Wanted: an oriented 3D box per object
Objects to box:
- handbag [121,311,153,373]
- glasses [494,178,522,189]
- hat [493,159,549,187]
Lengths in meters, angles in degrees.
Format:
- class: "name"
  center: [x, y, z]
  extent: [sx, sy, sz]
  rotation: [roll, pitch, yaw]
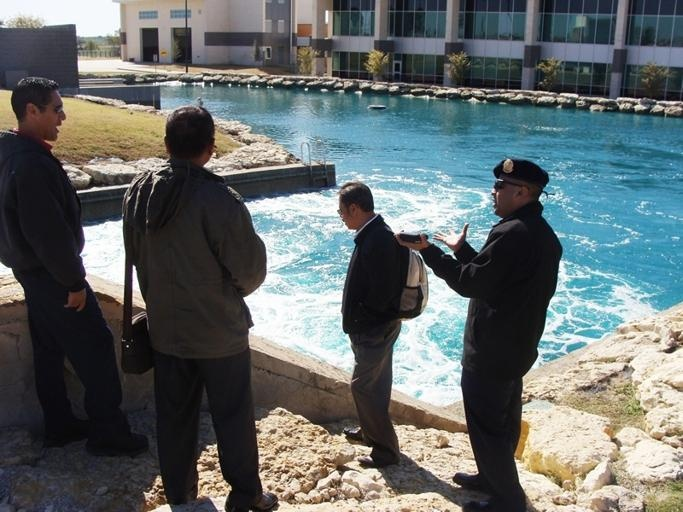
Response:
- class: "handbag"
  center: [-1.187, 0.531, 3.542]
  extent: [0.169, 0.349, 0.350]
  rotation: [-1, -9, -7]
- class: "glasses"
  center: [1.017, -0.443, 3.751]
  extent: [0.092, 0.025, 0.089]
  rotation: [8, 8, -18]
- class: "hat"
  center: [1.124, -0.488, 3.750]
  extent: [0.237, 0.094, 0.215]
  rotation: [12, 19, -13]
